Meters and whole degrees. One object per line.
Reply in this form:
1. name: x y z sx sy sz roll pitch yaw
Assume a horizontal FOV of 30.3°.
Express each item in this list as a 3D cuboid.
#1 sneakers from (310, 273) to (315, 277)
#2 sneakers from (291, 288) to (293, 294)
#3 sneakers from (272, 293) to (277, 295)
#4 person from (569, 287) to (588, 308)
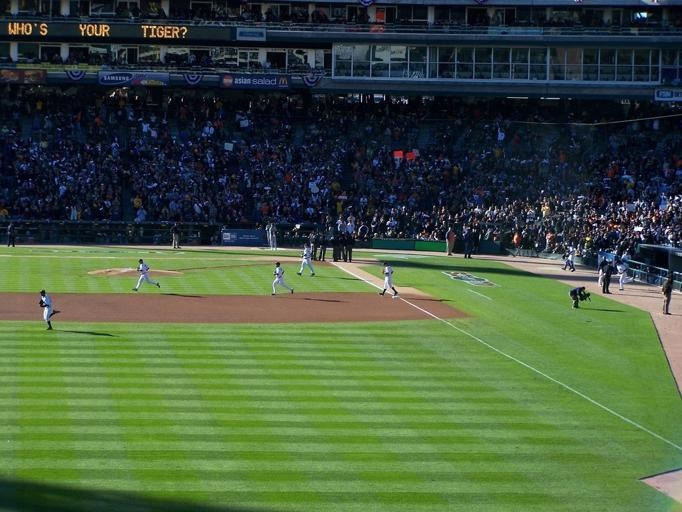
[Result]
1. sneakers: -1.872 1.197 78.040 0.277 0.182 0.127 1 7 12
2. sneakers: -2.874 2.077 72.539 0.079 0.223 0.157 -1 2 -9
3. sneakers: -3.912 2.225 71.975 0.137 0.136 0.130 0 -2 -5
4. person: 13.556 2.476 72.237 1.056 1.271 0.593 -4 31 -8
